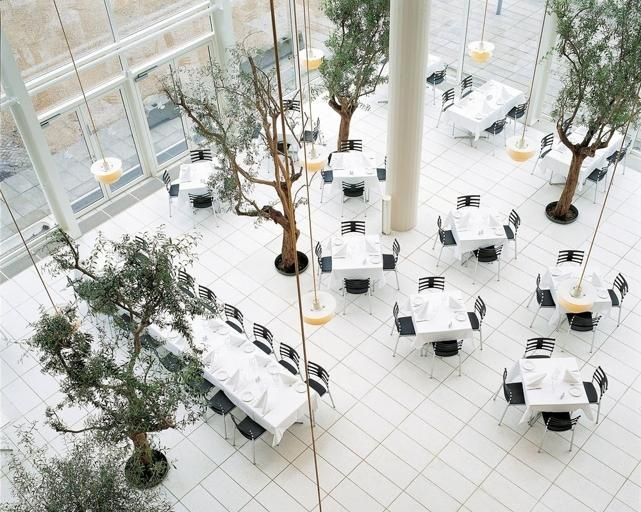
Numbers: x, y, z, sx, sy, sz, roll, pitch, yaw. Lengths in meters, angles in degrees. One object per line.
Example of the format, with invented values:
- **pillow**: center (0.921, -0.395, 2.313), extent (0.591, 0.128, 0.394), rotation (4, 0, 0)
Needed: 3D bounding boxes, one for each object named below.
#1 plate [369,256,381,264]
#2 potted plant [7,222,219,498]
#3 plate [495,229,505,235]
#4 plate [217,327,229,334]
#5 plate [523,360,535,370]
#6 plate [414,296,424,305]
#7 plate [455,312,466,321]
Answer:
- **plate**: center (1.104, 0.073, 10.180), extent (0.231, 0.014, 0.239), rotation (-5, 46, 0)
- **potted plant**: center (-3.160, 1.755, 7.699), extent (1.885, 3.389, 2.290), rotation (36, 56, 17)
- **plate**: center (3.759, -0.526, 10.582), extent (0.180, 0.029, 0.230), rotation (9, 47, 13)
- **plate**: center (-1.749, 1.351, 9.062), extent (0.173, 0.061, 0.183), rotation (-8, 46, -3)
- **plate**: center (3.547, 1.869, 8.554), extent (0.171, 0.042, 0.210), rotation (21, 51, 23)
- **plate**: center (1.856, 0.841, 9.527), extent (0.195, 0.032, 0.227), rotation (-3, 46, 1)
- **plate**: center (2.557, 1.106, 9.192), extent (0.221, 0.018, 0.212), rotation (2, 46, 6)
